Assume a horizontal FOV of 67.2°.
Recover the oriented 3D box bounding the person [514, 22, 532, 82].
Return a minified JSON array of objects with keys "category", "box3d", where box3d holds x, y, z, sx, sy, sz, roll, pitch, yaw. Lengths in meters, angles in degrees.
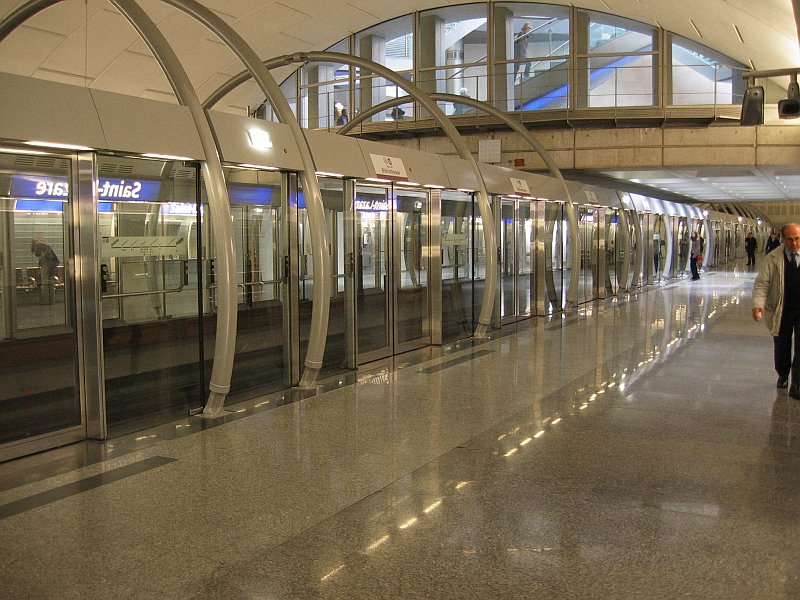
[{"category":"person","box3d":[4.360,-8.772,21.321,0.557,2.143,1.083,-1,8,13]}]
